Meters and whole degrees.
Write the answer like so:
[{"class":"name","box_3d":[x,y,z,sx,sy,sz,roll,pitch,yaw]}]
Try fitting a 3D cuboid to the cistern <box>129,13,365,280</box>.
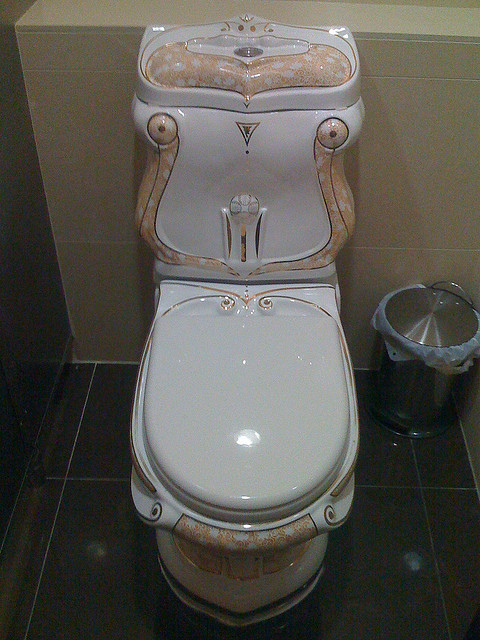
[{"class":"cistern","box_3d":[0.013,-0.249,1.181,0.420,0.585,0.407,0,50,-1]}]
